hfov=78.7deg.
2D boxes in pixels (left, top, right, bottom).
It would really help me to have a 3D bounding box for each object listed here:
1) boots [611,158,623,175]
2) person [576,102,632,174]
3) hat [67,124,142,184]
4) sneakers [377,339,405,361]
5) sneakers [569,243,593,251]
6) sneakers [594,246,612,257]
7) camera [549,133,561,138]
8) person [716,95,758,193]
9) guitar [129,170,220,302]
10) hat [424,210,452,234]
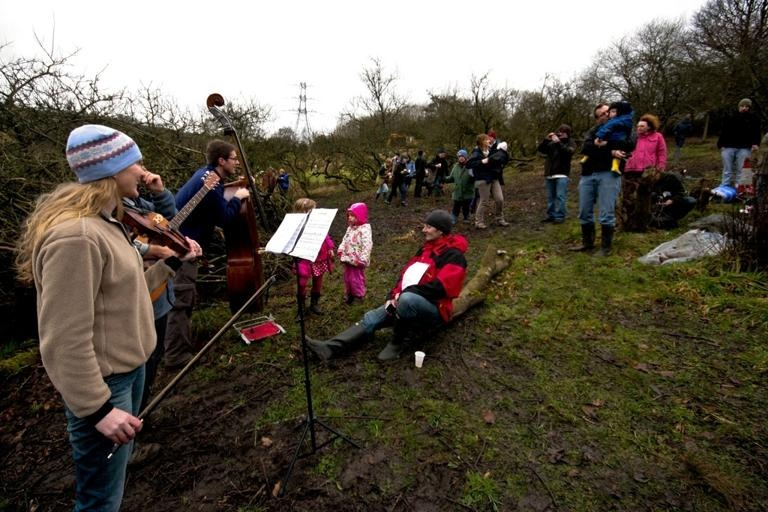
[{"bbox_3d":[3.717,-1.436,7.468,0.147,0.238,0.076,7,2,12],"label":"boots"},{"bbox_3d":[3.650,-1.911,7.633,0.772,1.144,0.536,4,16,29],"label":"person"},{"bbox_3d":[-2.648,-0.983,4.473,0.608,0.553,0.486,-15,20,-28],"label":"hat"},{"bbox_3d":[0.080,1.269,6.331,0.184,0.159,0.357,19,25,35],"label":"sneakers"},{"bbox_3d":[3.327,-0.156,7.914,0.373,0.172,0.133,4,13,24],"label":"sneakers"},{"bbox_3d":[3.540,-0.078,7.627,0.325,0.240,0.132,2,3,-8],"label":"sneakers"},{"bbox_3d":[3.526,-2.505,9.739,0.196,0.116,0.521,2,17,23],"label":"camera"},{"bbox_3d":[7.316,-2.334,9.638,0.691,1.735,0.800,7,18,38],"label":"person"},{"bbox_3d":[-2.443,-0.473,5.541,0.176,0.534,1.302,-24,21,26],"label":"guitar"},{"bbox_3d":[0.766,-0.461,6.537,0.326,0.298,0.312,24,12,4],"label":"hat"}]
